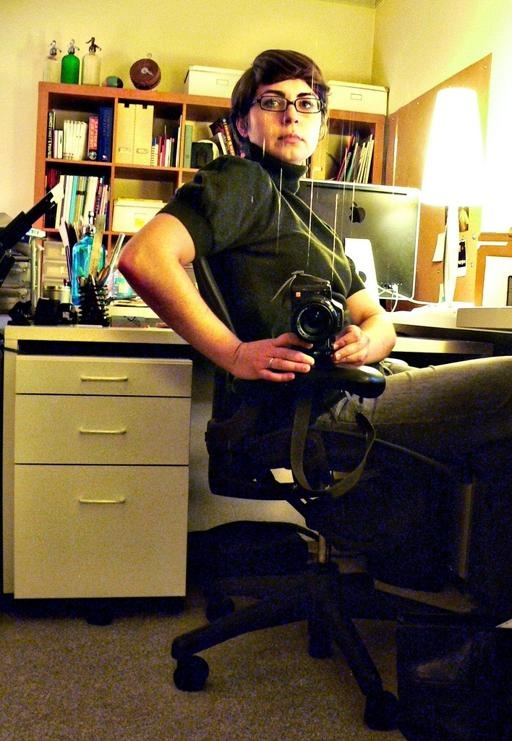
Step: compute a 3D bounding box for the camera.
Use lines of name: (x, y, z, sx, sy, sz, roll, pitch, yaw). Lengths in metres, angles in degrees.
camera: (0.032, -0.029, 0.353, 0.030, 0.043, 0.035, -4, 14, -8)

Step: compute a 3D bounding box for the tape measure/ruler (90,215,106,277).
tape measure/ruler: (-0.216, -0.173, 0.823, 0.016, 0.011, 0.088, -29, -8, -21)

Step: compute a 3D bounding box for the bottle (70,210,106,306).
bottle: (-0.255, -0.184, 0.924, 0.051, 0.112, 0.051, 8, 54, -11)

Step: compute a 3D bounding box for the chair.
chair: (0.087, 0.071, 0.596, 0.282, 0.447, 0.299, 1, -1, 20)
